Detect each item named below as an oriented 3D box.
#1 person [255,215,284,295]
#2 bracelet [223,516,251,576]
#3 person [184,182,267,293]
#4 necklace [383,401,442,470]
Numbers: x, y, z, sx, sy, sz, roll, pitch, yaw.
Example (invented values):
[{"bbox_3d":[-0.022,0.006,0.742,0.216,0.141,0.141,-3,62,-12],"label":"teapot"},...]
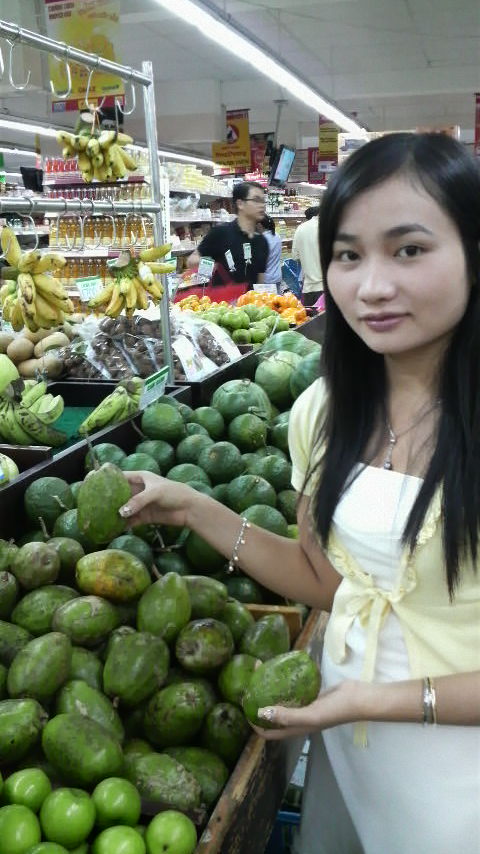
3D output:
[{"bbox_3d":[0.311,-2.012,7.024,0.202,0.822,0.228,-22,50,-25],"label":"person"},{"bbox_3d":[0.000,0.242,1.192,0.026,0.096,0.077,10,0,15],"label":"bracelet"},{"bbox_3d":[-0.134,-1.886,6.102,0.560,1.255,0.620,10,20,30],"label":"person"},{"bbox_3d":[0.266,0.013,0.929,0.064,0.102,0.087,-10,21,-20],"label":"necklace"}]
